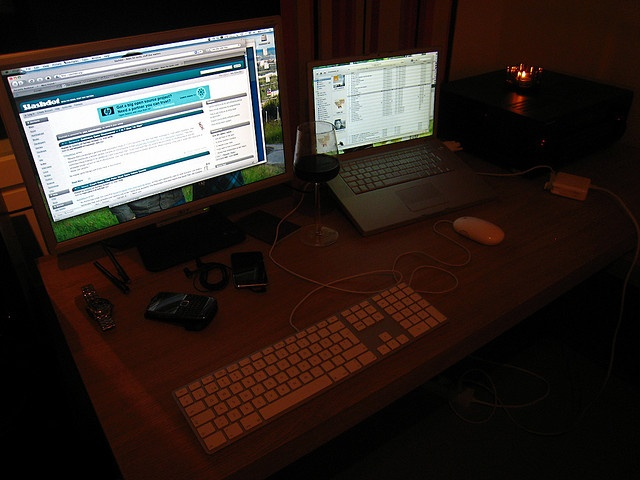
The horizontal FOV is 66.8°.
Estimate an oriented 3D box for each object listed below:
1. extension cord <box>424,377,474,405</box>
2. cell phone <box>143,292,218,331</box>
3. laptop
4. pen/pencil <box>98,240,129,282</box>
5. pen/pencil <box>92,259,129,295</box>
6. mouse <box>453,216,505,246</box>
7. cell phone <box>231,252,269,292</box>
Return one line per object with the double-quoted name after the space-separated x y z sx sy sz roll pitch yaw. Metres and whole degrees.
0.392 0.457 1.515 0.050 0.020 0.154 -33 19 -18 "extension cord"
-0.338 0.172 1.180 0.155 0.038 0.079 6 44 13 "cell phone"
0.263 -0.319 1.453 0.528 0.319 0.412 -20 49 -27 "laptop"
-0.560 0.059 1.315 0.022 0.020 0.160 -22 51 -36 "pen/pencil"
-0.550 0.099 1.274 0.130 0.019 0.020 34 52 28 "pen/pencil"
0.453 -0.029 1.364 0.080 0.024 0.111 -27 42 -34 "mouse"
-0.186 0.065 1.277 0.086 0.131 0.012 -9 36 -17 "cell phone"
